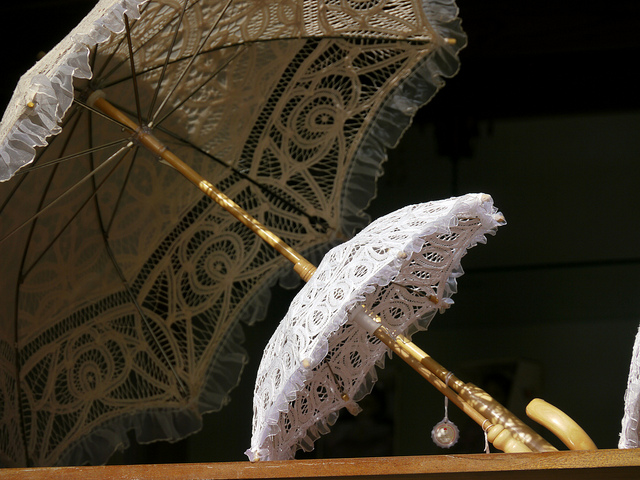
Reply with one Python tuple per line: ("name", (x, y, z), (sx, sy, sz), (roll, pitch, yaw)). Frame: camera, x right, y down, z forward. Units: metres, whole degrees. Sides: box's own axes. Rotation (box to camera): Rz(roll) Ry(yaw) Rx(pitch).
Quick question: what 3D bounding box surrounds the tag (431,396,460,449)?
("tag", (0.440, 0.652, 4.570), (0.085, 0.173, 0.270), (1, -17, 5))
